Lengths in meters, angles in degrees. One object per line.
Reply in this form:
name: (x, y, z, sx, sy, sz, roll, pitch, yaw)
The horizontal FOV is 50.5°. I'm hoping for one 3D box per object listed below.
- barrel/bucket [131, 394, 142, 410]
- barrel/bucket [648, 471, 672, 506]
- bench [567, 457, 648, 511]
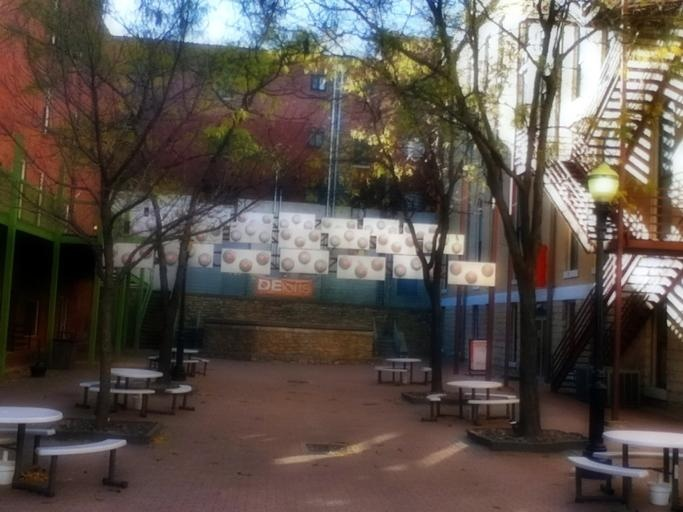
barrel/bucket: (-4.808, 3.429, 17.115, 0.188, 0.371, 0.451, 2, -2, -17)
barrel/bucket: (4.876, 3.633, 11.137, 0.279, 0.403, 0.330, 2, -10, -3)
bench: (4.079, 3.444, 11.250, 1.032, 0.640, 1.501, 1, -3, 20)
